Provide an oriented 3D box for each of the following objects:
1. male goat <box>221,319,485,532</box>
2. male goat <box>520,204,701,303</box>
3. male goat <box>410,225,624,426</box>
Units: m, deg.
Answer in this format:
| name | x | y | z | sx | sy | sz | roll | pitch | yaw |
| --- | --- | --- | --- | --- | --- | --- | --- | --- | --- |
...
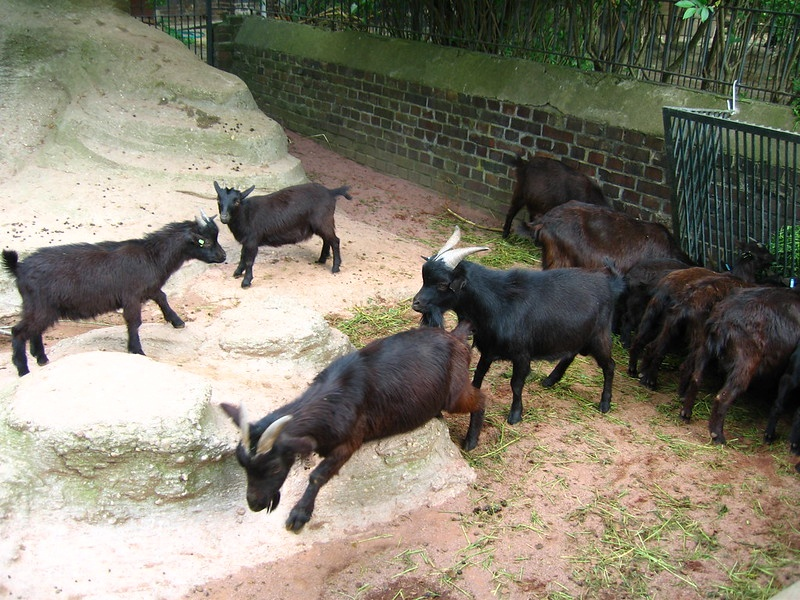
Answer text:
| name | x | y | z | sx | sy | sz | roll | pitch | yaw |
| --- | --- | --- | --- | --- | --- | --- | --- | --- | --- |
| male goat | -0.290 | 0.615 | 5.281 | 2.607 | 1.344 | 0.780 | -18 | 22 | -39 |
| male goat | 2.274 | -0.662 | 7.676 | 1.927 | 1.079 | 0.670 | 5 | 44 | 5 |
| male goat | 1.096 | 0.224 | 5.980 | 2.029 | 1.490 | 0.771 | -2 | 18 | -12 |
